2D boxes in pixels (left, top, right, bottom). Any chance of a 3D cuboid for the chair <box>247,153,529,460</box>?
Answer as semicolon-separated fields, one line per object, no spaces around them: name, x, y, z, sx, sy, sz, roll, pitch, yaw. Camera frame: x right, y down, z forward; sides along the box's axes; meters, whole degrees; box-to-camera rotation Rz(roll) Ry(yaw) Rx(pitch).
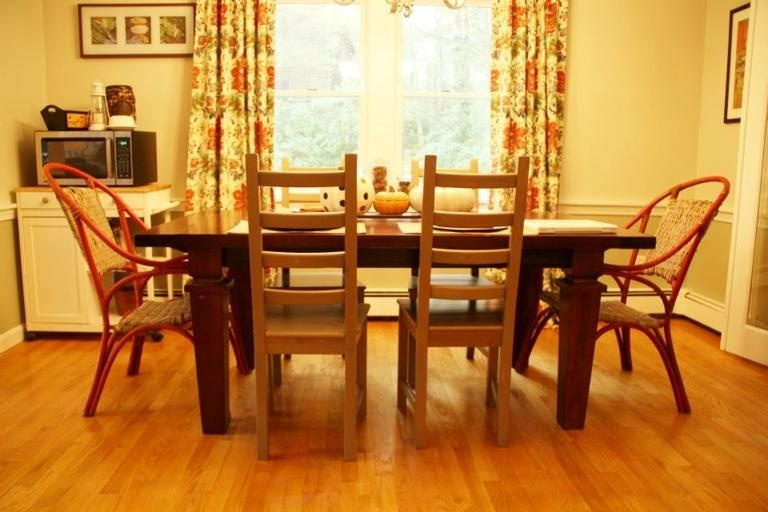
chair;-0.002;0.145;3.478;1.418;1.523;1.176;-2;15;-5

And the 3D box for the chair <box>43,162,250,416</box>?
chair;-1.381;0.136;3.693;1.014;1.323;0.847;0;7;0

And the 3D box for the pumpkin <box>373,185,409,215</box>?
pumpkin;0.041;-0.349;3.790;0.180;0.156;0.181;2;8;17

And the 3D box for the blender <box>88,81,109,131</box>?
blender;-2.120;-1.114;4.496;0.138;0.341;0.325;-4;16;-13

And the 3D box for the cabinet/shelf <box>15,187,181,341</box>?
cabinet/shelf;-2.125;0.028;4.678;1.093;1.043;0.610;2;13;-5
